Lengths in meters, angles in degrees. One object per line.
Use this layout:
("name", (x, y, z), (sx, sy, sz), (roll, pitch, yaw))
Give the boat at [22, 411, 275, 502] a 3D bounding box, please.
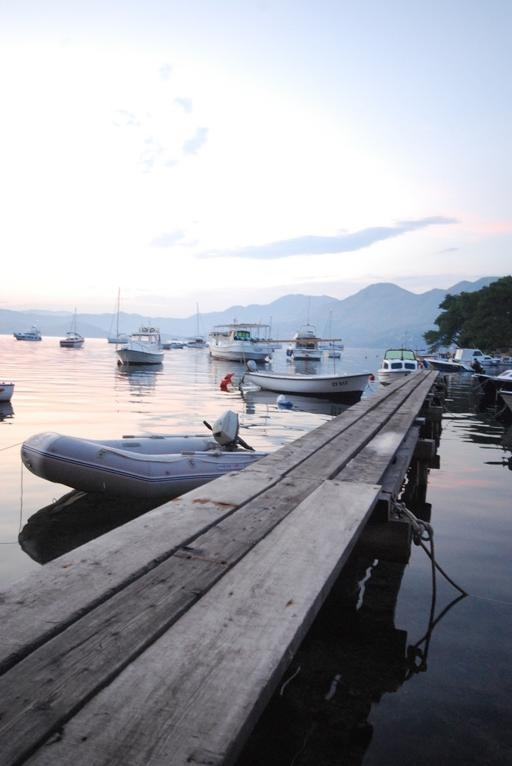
("boat", (-1.378, 1.022, 7.640), (2.852, 0.858, 1.408), (2, -2, -29))
